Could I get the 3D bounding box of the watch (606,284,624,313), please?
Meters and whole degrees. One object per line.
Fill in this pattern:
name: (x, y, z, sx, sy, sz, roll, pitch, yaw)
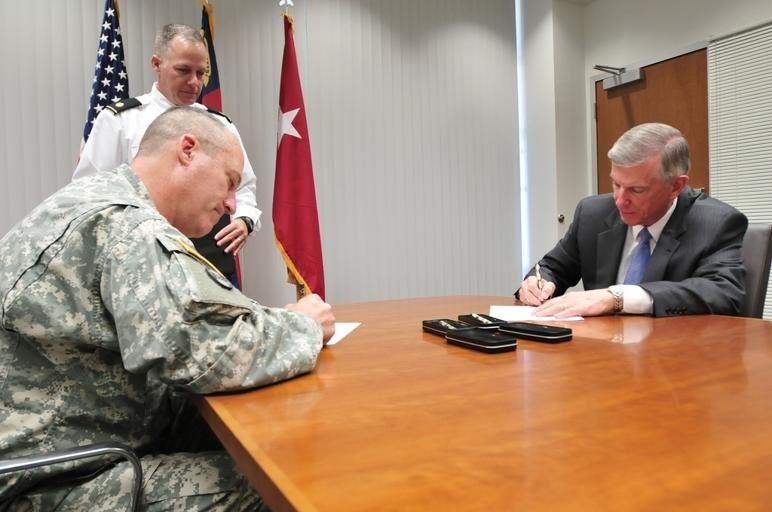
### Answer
watch: (0.911, 0.170, 2.274, 0.059, 0.092, 0.099, 2, -10, 5)
